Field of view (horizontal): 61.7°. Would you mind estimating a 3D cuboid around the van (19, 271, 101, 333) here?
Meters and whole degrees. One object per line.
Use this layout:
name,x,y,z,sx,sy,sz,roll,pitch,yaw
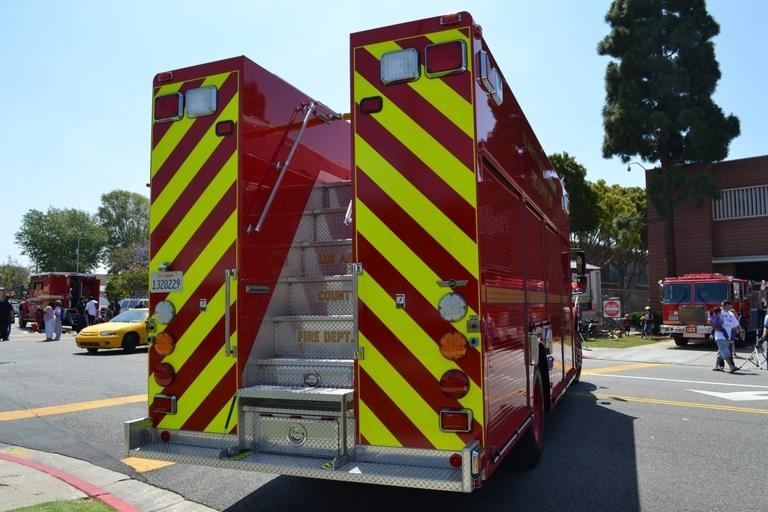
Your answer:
van,-18.042,2.319,35.971,5.452,3.442,3.105,-1,-6,42
